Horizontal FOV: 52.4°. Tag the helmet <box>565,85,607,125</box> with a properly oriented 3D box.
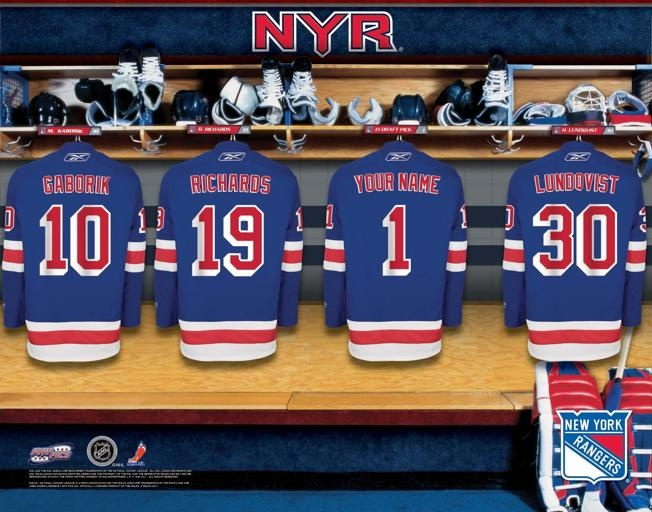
[{"bbox_3d":[1.302,-0.758,3.312,0.200,0.227,0.402,2,9,19],"label":"helmet"}]

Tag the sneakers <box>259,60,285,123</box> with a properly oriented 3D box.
[{"bbox_3d":[-0.256,-0.799,3.230,0.159,0.277,0.137,-2,6,2],"label":"sneakers"}]

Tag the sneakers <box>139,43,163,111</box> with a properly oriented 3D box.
[{"bbox_3d":[-0.846,-0.878,3.243,0.142,0.285,0.133,0,4,-8],"label":"sneakers"}]

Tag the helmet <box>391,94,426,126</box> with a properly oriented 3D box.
[{"bbox_3d":[0.407,-0.714,3.243,0.179,0.161,0.225,0,8,5],"label":"helmet"}]

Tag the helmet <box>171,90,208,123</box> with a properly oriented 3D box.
[{"bbox_3d":[-0.669,-0.743,3.296,0.177,0.171,0.132,-4,9,-16],"label":"helmet"}]

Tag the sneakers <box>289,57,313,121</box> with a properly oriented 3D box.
[{"bbox_3d":[-0.124,-0.820,3.256,0.135,0.309,0.141,-2,9,-1],"label":"sneakers"}]

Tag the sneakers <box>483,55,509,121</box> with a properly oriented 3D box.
[{"bbox_3d":[0.846,-0.815,3.257,0.147,0.302,0.149,2,-7,14],"label":"sneakers"}]

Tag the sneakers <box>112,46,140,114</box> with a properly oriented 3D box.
[{"bbox_3d":[-0.978,-0.862,3.247,0.148,0.322,0.150,2,5,-6],"label":"sneakers"}]

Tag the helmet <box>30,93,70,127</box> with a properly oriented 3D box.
[{"bbox_3d":[-1.392,-0.736,3.315,0.184,0.171,0.144,-4,9,-19],"label":"helmet"}]
